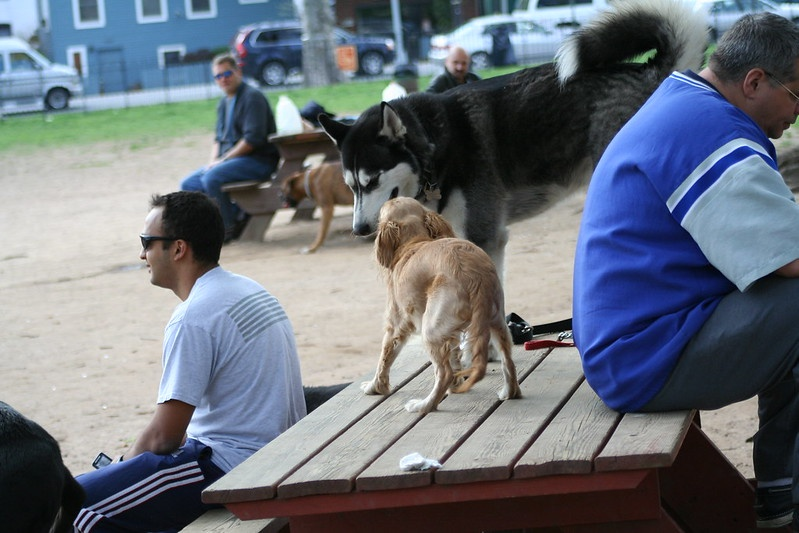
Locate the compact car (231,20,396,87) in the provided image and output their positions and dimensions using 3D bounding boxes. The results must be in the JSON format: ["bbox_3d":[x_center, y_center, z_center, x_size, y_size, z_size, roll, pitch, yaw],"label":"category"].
[{"bbox_3d":[-1.803,-5.058,24.895,3.803,1.245,1.641,-6,8,-15],"label":"compact car"}]

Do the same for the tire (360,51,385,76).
[{"bbox_3d":[-0.734,-5.294,27.669,0.881,0.810,0.199,-1,-12,-11],"label":"tire"}]

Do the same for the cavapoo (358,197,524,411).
[{"bbox_3d":[0.235,0.174,5.921,0.629,1.115,1.663,-6,6,-19],"label":"cavapoo"}]

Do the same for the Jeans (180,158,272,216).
[{"bbox_3d":[-1.851,-0.897,11.486,1.012,0.611,0.593,-17,20,-39],"label":"Jeans"}]

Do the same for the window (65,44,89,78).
[{"bbox_3d":[-2.609,-1.680,8.570,0.038,0.342,0.201,16,24,33],"label":"window"}]

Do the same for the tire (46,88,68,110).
[{"bbox_3d":[-2.776,-1.375,8.619,0.164,0.152,0.061,-5,14,-27],"label":"tire"}]

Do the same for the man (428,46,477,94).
[{"bbox_3d":[0.669,-2.138,11.554,0.917,0.468,0.380,-5,16,-2],"label":"man"}]

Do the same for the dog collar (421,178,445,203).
[{"bbox_3d":[0.209,-0.497,6.919,0.132,0.127,0.051,4,30,11],"label":"dog collar"}]

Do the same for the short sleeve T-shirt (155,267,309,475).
[{"bbox_3d":[-0.951,0.578,6.228,0.711,1.114,1.209,2,7,18],"label":"short sleeve T-shirt"}]
